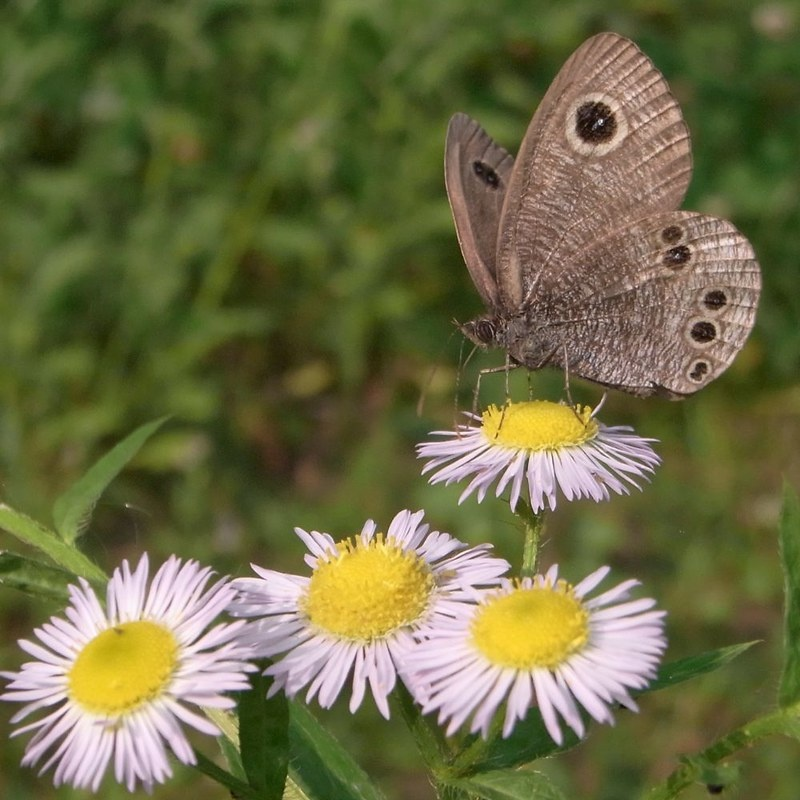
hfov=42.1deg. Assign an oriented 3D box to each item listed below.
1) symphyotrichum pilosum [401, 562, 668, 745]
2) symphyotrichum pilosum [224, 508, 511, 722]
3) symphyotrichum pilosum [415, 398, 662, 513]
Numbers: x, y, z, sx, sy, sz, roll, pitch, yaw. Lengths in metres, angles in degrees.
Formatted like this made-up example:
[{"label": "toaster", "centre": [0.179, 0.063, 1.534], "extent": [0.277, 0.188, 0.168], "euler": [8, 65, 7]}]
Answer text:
[{"label": "symphyotrichum pilosum", "centre": [0.256, 0.456, 1.885], "extent": [0.494, 0.115, 0.540], "euler": [-6, 14, 23]}, {"label": "symphyotrichum pilosum", "centre": [-0.062, 0.383, 2.044], "extent": [0.572, 0.134, 0.564], "euler": [-29, 18, -13]}, {"label": "symphyotrichum pilosum", "centre": [0.341, 0.104, 2.467], "extent": [0.549, 0.157, 0.567], "euler": [8, 17, 33]}]
